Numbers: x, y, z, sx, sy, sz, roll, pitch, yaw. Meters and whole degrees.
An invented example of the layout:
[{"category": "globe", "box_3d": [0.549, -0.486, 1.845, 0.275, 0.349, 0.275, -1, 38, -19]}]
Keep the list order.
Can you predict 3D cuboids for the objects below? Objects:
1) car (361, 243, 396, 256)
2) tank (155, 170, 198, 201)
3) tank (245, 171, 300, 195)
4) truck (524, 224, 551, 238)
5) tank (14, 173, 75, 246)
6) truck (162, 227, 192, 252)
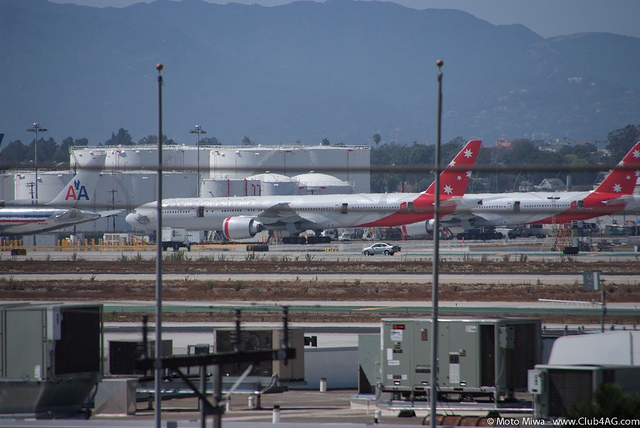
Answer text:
[{"category": "car", "box_3d": [8.847, 5.241, 254.861, 4.755, 1.824, 1.359, 1, -5, 1]}, {"category": "tank", "box_3d": [-23.550, -4.954, 269.812, 5.813, 5.014, 3.358, 2, -3, -8]}, {"category": "tank", "box_3d": [-7.646, -5.407, 286.842, 5.993, 3.286, 5.674, 0, 0, -2]}, {"category": "truck", "box_3d": [35.077, 2.557, 273.469, 3.823, 1.690, 1.998, 2, -2, 6]}, {"category": "tank", "box_3d": [-49.689, -1.761, 279.262, 13.231, 12.317, 12.609, 0, -3, -5]}, {"category": "truck", "box_3d": [-24.036, 3.635, 264.868, 5.689, 3.734, 2.896, 1, -1, 7]}]
